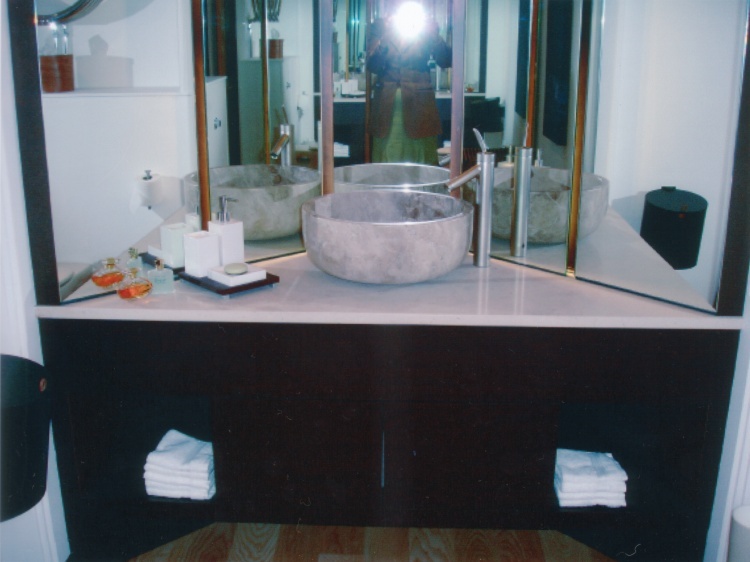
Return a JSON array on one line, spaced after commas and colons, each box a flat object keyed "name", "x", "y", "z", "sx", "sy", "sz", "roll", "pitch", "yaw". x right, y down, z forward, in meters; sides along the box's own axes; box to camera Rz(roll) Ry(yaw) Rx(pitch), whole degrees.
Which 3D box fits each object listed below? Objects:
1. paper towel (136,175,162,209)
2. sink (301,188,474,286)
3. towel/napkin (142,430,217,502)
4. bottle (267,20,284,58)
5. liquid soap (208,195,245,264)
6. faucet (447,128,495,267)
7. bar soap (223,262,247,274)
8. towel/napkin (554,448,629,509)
[{"name": "paper towel", "x": -0.677, "y": -0.271, "z": 1.929, "sx": 0.064, "sy": 0.111, "sz": 0.061, "roll": -1, "pitch": 2, "yaw": -27}, {"name": "sink", "x": 0.034, "y": -0.139, "z": 2.026, "sx": 0.509, "sy": 0.225, "sz": 0.411, "roll": -4, "pitch": 20, "yaw": -6}, {"name": "towel/napkin", "x": -0.595, "y": 0.577, "z": 2.009, "sx": 0.211, "sy": 0.162, "sz": 0.137, "roll": 0, "pitch": 19, "yaw": 7}, {"name": "bottle", "x": -0.319, "y": -0.762, "z": 2.051, "sx": 0.053, "sy": 0.115, "sz": 0.062, "roll": 6, "pitch": 6, "yaw": 29}, {"name": "liquid soap", "x": -0.478, "y": -0.139, "z": 1.984, "sx": 0.080, "sy": 0.246, "sz": 0.089, "roll": -2, "pitch": -14, "yaw": 44}, {"name": "faucet", "x": 0.293, "y": -0.250, "z": 2.017, "sx": 0.157, "sy": 0.425, "sz": 0.051, "roll": -6, "pitch": 16, "yaw": -23}, {"name": "bar soap", "x": -0.406, "y": -0.036, "z": 1.879, "sx": 0.070, "sy": 0.022, "sz": 0.053, "roll": -8, "pitch": 21, "yaw": -15}, {"name": "towel/napkin", "x": 0.652, "y": 0.589, "z": 1.929, "sx": 0.170, "sy": 0.096, "sz": 0.181, "roll": -1, "pitch": 12, "yaw": -3}]
